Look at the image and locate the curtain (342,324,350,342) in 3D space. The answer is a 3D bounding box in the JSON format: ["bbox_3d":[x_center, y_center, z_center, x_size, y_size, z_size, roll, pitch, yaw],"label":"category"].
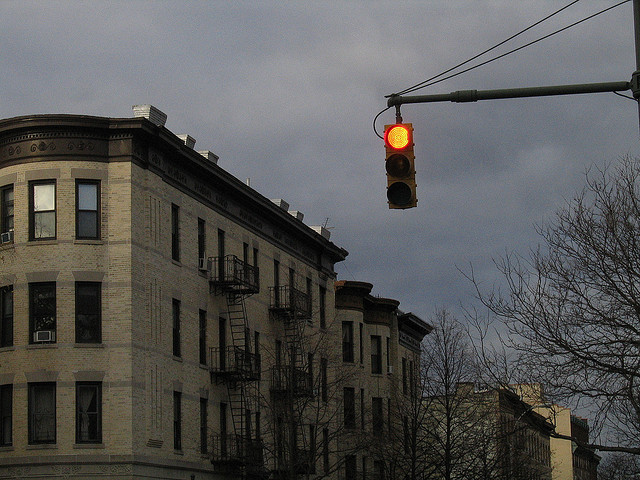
[{"bbox_3d":[1.424,5.222,88.453,0.256,0.998,0.786,-9,-13,35],"label":"curtain"}]

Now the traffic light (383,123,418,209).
[{"bbox_3d":[2.309,-2.101,45.369,0.960,2.597,0.926,4,-9,-42],"label":"traffic light"}]

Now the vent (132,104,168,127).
[{"bbox_3d":[-7.399,-5.439,68.976,1.566,0.694,0.849,7,-14,-41],"label":"vent"}]

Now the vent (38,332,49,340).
[{"bbox_3d":[-11.428,3.918,64.474,0.464,0.289,0.117,-3,-10,2],"label":"vent"}]

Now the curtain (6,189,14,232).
[{"bbox_3d":[-13.129,-1.214,66.223,0.140,1.838,0.525,6,-13,-38],"label":"curtain"}]

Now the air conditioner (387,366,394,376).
[{"bbox_3d":[4.217,7.744,93.929,0.497,0.538,0.495,6,-7,-44],"label":"air conditioner"}]

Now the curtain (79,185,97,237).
[{"bbox_3d":[-9.777,-1.226,65.692,1.043,0.189,2.941,1,-54,-7],"label":"curtain"}]

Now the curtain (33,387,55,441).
[{"bbox_3d":[-11.360,7.045,64.153,0.856,2.151,0.159,-2,-10,2],"label":"curtain"}]

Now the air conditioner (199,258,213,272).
[{"bbox_3d":[-5.157,1.285,70.554,0.435,0.605,0.800,-5,-10,28],"label":"air conditioner"}]

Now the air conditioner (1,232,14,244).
[{"bbox_3d":[-13.226,-0.094,66.068,0.662,0.478,0.361,-11,-17,43],"label":"air conditioner"}]

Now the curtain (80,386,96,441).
[{"bbox_3d":[-9.572,7.034,64.381,0.731,2.373,0.188,2,14,-5],"label":"curtain"}]

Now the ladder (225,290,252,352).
[{"bbox_3d":[-3.866,3.796,73.071,0.723,3.015,0.063,-4,28,-3],"label":"ladder"}]

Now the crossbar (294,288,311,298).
[{"bbox_3d":[-0.949,2.697,80.175,1.025,0.081,0.078,31,-41,-27],"label":"crossbar"}]
